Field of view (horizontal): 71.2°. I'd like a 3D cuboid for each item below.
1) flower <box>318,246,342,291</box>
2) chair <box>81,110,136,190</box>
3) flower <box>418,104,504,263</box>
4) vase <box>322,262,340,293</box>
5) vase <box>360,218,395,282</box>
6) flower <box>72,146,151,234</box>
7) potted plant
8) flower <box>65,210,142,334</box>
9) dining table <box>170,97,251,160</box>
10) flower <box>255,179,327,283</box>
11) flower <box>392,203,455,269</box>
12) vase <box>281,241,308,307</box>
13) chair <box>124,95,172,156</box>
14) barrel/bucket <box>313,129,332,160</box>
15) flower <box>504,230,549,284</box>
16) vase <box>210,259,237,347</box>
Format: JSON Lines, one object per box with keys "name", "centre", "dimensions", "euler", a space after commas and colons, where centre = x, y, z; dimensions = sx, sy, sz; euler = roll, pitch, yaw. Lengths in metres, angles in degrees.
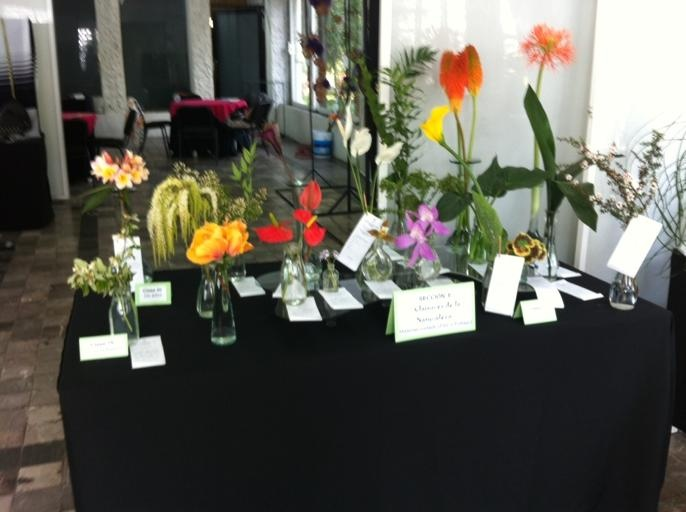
{"name": "flower", "centre": [-0.044, 0.052, 1.728], "dimensions": [0.062, 0.136, 0.068], "euler": [-8, -6, 15]}
{"name": "chair", "centre": [-3.365, -1.472, 6.843], "dimensions": [0.741, 1.141, 0.737], "euler": [-2, 20, -33]}
{"name": "flower", "centre": [0.451, -0.308, 1.820], "dimensions": [0.240, 0.489, 0.232], "euler": [-9, -1, -24]}
{"name": "vase", "centre": [-0.045, 0.086, 1.742], "dimensions": [0.060, 0.115, 0.063], "euler": [-14, 21, -42]}
{"name": "vase", "centre": [0.130, 0.002, 1.771], "dimensions": [0.102, 0.218, 0.120], "euler": [-1, -7, 23]}
{"name": "flower", "centre": [-0.752, -0.196, 1.584], "dimensions": [0.181, 0.262, 0.157], "euler": [12, 38, 5]}
{"name": "potted plant", "centre": [0.788, -0.327, 2.218], "dimensions": [0.597, 0.635, 0.694], "euler": [4, 35, 6]}
{"name": "flower", "centre": [-0.685, 0.084, 1.423], "dimensions": [0.191, 0.361, 0.138], "euler": [-7, 7, -13]}
{"name": "dining table", "centre": [-2.564, -2.229, 8.842], "dimensions": [1.065, 0.846, 1.168], "euler": [7, 30, 18]}
{"name": "flower", "centre": [-0.147, -0.032, 1.563], "dimensions": [0.199, 0.421, 0.252], "euler": [7, 5, -19]}
{"name": "flower", "centre": [0.264, -0.065, 1.682], "dimensions": [0.181, 0.211, 0.172], "euler": [15, 16, -17]}
{"name": "vase", "centre": [-0.167, 0.046, 1.612], "dimensions": [0.073, 0.229, 0.082], "euler": [2, 19, 7]}
{"name": "chair", "centre": [-3.323, -2.308, 8.357], "dimensions": [0.744, 0.999, 0.675], "euler": [12, 22, 40]}
{"name": "barrel/bucket", "centre": [-0.345, -1.946, 8.498], "dimensions": [0.347, 0.463, 0.230], "euler": [-2, 17, -3]}
{"name": "flower", "centre": [0.663, -0.016, 1.819], "dimensions": [0.180, 0.229, 0.187], "euler": [3, 7, 8]}
{"name": "vase", "centre": [-0.391, 0.118, 1.529], "dimensions": [0.083, 0.268, 0.214], "euler": [-5, 18, -14]}
